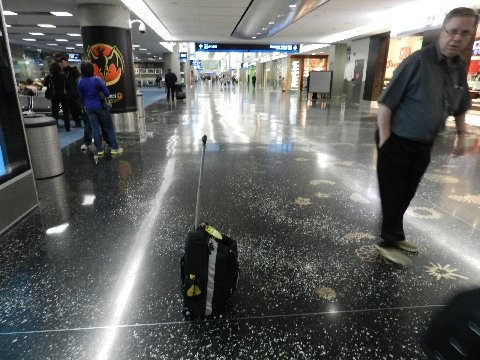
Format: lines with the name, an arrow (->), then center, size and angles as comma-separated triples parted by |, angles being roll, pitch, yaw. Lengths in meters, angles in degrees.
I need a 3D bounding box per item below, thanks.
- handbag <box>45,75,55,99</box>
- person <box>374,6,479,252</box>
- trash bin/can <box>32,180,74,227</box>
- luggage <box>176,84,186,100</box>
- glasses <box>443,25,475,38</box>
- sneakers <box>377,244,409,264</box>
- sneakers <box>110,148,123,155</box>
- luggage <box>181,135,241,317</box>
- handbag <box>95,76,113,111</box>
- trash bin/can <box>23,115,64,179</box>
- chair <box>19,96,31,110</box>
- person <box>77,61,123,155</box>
handbag -> -4.913, -2.357, 7.583 | 0.180, 0.479, 0.365 | 8, 5, -24
person -> 1.431, -0.310, 2.381 | 0.722, 1.879, 0.341 | -12, 23, -24
trash bin/can -> -2.196, 0.286, 3.460 | 0.217, 0.242, 0.879 | -12, 28, -14
luggage -> -3.376, -4.937, 16.640 | 0.712, 0.849, 0.696 | -2, 24, -3
glasses -> 1.547, -1.021, 2.049 | 0.228, 0.067, 0.112 | -1, 20, 2
sneakers -> 1.291, 0.612, 2.529 | 0.239, 0.098, 0.103 | 14, 26, 40
sneakers -> -2.348, -0.547, 5.630 | 0.234, 0.103, 0.100 | -11, 19, -29
luggage -> -0.215, 0.454, 1.890 | 0.392, 0.883, 0.279 | -3, 21, -2
handbag -> -2.429, -1.526, 5.275 | 0.172, 0.593, 0.287 | -1, 21, 4
trash bin/can -> -2.883, -0.478, 4.356 | 0.475, 0.840, 0.388 | -21, 28, -40
chair -> -6.313, -2.251, 8.711 | 0.253, 0.403, 0.381 | -16, 24, -31
person -> -2.556, -1.261, 5.358 | 0.502, 1.636, 0.390 | -13, 23, -27
